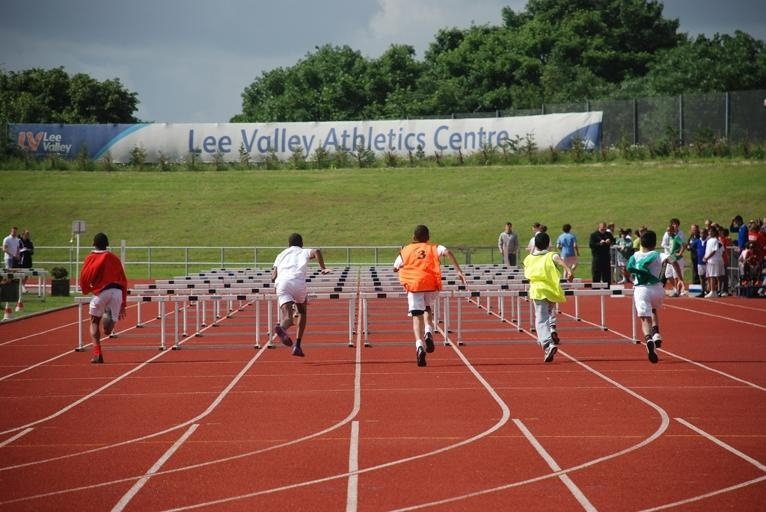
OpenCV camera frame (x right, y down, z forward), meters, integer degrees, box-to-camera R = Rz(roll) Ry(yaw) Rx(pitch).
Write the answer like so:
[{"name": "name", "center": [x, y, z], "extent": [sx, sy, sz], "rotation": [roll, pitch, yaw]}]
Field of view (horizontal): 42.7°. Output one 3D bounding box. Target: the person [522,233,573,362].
[{"name": "person", "center": [3.400, 0.829, 19.811], "extent": [1.032, 2.483, 1.007], "rotation": [0, -1, -1]}]

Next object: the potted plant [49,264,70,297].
[{"name": "potted plant", "center": [-10.958, 0.876, 32.735], "extent": [0.871, 1.337, 0.922], "rotation": [1, -2, -12]}]

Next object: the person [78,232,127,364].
[{"name": "person", "center": [-5.722, 0.802, 20.118], "extent": [0.988, 2.781, 1.178], "rotation": [0, -3, -11]}]
